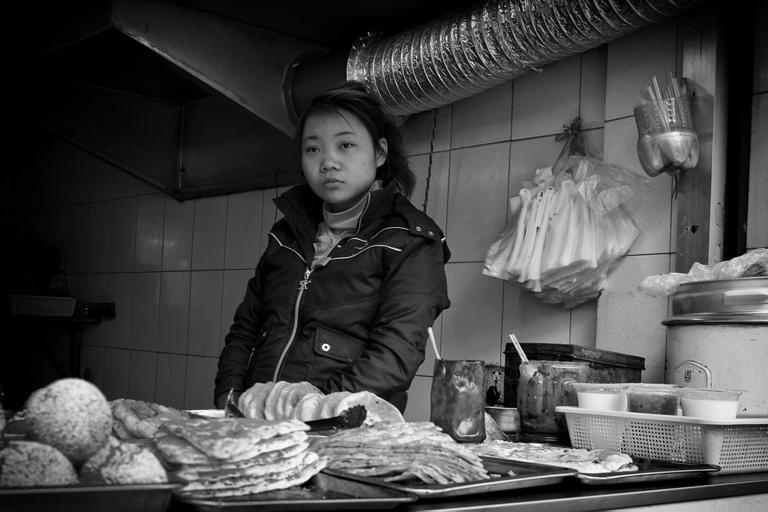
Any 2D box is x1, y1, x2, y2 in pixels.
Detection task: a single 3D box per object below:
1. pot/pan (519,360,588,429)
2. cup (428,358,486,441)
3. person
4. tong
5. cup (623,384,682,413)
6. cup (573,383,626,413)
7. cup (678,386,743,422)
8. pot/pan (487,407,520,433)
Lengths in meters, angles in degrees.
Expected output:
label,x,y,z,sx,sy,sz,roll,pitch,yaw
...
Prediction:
label,x,y,z,sx,sy,sz,roll,pitch,yaw
pot/pan,0.380,0.319,1.454,0.164,0.142,0.158,0,-9,3
cup,0.174,0.306,1.413,0.109,0.188,0.102,0,2,0
person,-0.109,-0.201,2.095,0.577,1.390,0.523,-5,-11,41
tong,-0.160,0.285,1.264,0.260,0.082,0.221,0,2,-44
cup,0.586,0.312,1.347,0.086,0.053,0.066,-4,-16,23
cup,0.487,0.313,1.382,0.082,0.048,0.071,-7,-11,36
cup,0.676,0.301,1.288,0.100,0.072,0.076,1,-4,-35
pot/pan,0.299,0.413,1.565,0.064,0.031,0.083,-5,-14,24
